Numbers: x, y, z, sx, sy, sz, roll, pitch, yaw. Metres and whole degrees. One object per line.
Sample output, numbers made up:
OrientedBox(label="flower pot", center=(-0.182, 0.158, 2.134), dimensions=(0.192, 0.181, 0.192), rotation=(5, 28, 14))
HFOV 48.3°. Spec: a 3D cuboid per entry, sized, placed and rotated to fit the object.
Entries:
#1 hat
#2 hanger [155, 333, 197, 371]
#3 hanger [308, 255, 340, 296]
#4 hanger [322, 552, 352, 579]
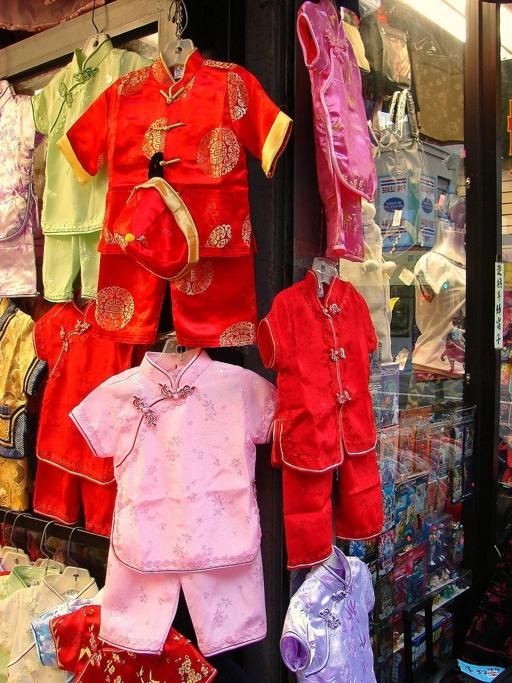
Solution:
OrientedBox(label="hat", center=(-0.193, -0.226, 1.222), dimensions=(0.154, 0.217, 0.086), rotation=(-30, -12, 24))
OrientedBox(label="hanger", center=(-0.199, 0.032, 1.384), dimensions=(0.094, 0.094, 0.063), rotation=(-4, 2, -19))
OrientedBox(label="hanger", center=(0.171, -0.153, 1.403), dimensions=(0.071, 0.100, 0.030), rotation=(4, -6, -30))
OrientedBox(label="hanger", center=(0.194, 0.536, 1.362), dimensions=(0.045, 0.055, 0.081), rotation=(-25, -43, -8))
